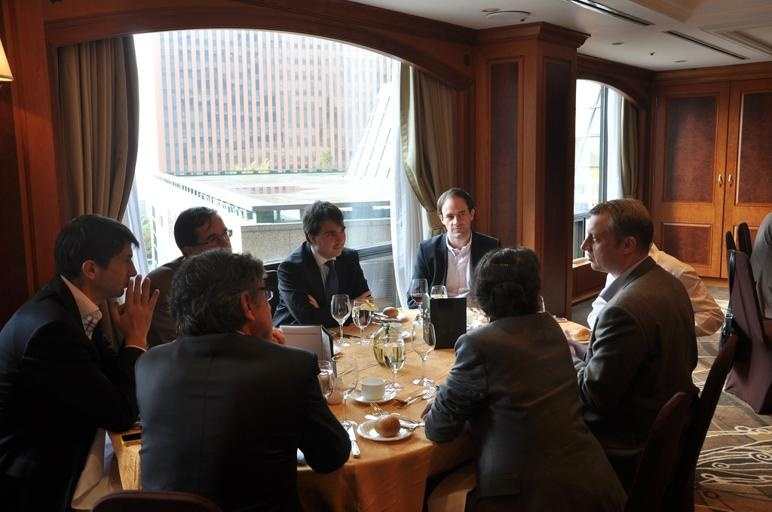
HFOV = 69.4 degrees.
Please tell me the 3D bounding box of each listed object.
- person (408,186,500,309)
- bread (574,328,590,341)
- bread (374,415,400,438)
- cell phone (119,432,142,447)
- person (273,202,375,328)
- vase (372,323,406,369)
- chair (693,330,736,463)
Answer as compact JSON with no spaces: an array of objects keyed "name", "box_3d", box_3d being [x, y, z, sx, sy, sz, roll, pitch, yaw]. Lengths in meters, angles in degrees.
[{"name":"person","box_3d":[0.548,0.058,4.308,0.741,1.119,0.621,1,0,4]},{"name":"bread","box_3d":[1.173,0.468,3.321,0.064,0.026,0.067,-4,7,8]},{"name":"bread","box_3d":[0.009,0.737,2.428,0.088,0.073,0.091,-7,-6,-11]},{"name":"cell phone","box_3d":[-1.135,0.811,2.486,0.088,0.033,0.069,2,16,0]},{"name":"person","box_3d":[-0.461,0.070,3.861,0.592,0.838,0.531,-6,12,-41]},{"name":"vase","box_3d":[0.007,0.477,3.055,0.167,0.222,0.176,0,8,0]},{"name":"chair","box_3d":[1.527,0.672,2.569,0.180,0.570,0.340,-4,3,32]}]
